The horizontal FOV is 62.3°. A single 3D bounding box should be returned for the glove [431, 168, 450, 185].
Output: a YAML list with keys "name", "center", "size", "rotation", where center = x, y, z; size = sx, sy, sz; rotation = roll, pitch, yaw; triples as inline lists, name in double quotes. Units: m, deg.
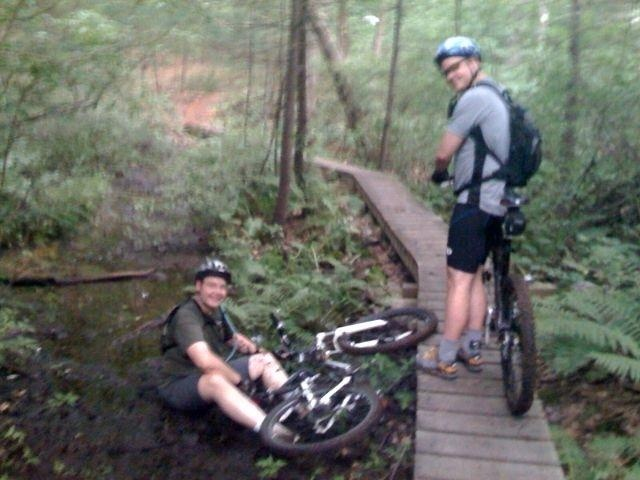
- name: "glove"
  center: [0.970, -0.525, 4.257]
  size: [0.123, 0.143, 0.097]
  rotation: [-4, 31, -3]

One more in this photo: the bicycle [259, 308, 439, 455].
- name: "bicycle"
  center: [0.154, 0.943, 4.299]
  size: [1.000, 0.692, 1.797]
  rotation: [9, 23, 31]

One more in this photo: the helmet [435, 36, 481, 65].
- name: "helmet"
  center: [1.072, -1.465, 4.101]
  size: [0.348, 0.205, 0.168]
  rotation: [2, 19, 14]

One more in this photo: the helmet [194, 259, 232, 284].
- name: "helmet"
  center: [-0.885, 0.259, 4.412]
  size: [0.208, 0.155, 0.218]
  rotation: [-3, -8, 43]

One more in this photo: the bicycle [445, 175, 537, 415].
- name: "bicycle"
  center: [1.212, 0.398, 4.333]
  size: [0.674, 0.982, 1.543]
  rotation: [2, 33, 9]

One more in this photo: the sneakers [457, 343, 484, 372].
- name: "sneakers"
  center: [1.238, 0.948, 4.406]
  size: [0.128, 0.214, 0.294]
  rotation: [-3, 17, -4]

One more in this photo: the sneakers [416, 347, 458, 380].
- name: "sneakers"
  center: [0.956, 1.026, 4.409]
  size: [0.177, 0.187, 0.359]
  rotation: [-18, 25, -37]

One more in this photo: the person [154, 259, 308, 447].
- name: "person"
  center: [-0.689, 0.813, 4.405]
  size: [1.416, 1.323, 0.885]
  rotation: [-2, -3, 32]
